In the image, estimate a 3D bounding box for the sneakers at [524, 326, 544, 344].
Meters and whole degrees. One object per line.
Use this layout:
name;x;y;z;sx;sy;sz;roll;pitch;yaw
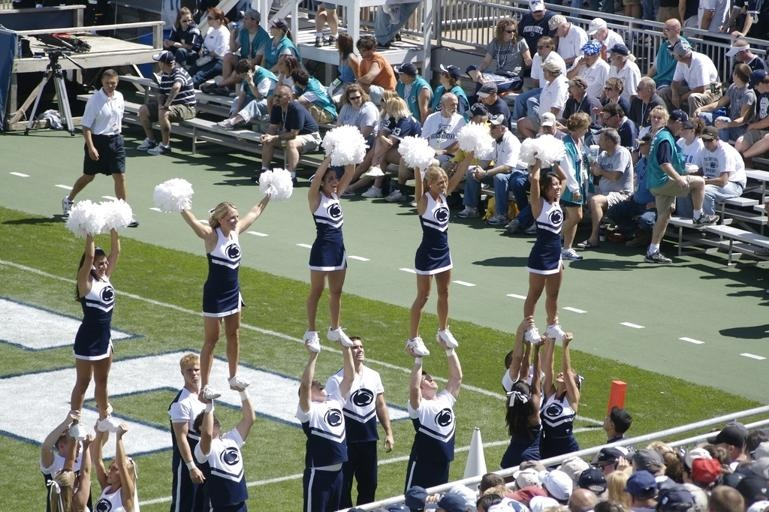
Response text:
sneakers;1.847;0.978;15.412;0.119;0.132;0.341;-5;7;-15

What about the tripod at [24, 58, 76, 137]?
tripod;-7.333;-3.508;27.278;1.115;1.756;0.915;24;38;27

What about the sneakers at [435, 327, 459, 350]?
sneakers;0.769;1.078;15.568;0.144;0.182;0.426;-8;21;-32

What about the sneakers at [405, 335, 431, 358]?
sneakers;0.395;1.154;15.700;0.159;0.173;0.423;-7;10;-23

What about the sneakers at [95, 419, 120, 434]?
sneakers;-3.192;1.961;14.311;0.167;0.150;0.288;48;7;6

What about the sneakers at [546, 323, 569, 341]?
sneakers;2.155;0.978;15.578;0.210;0.156;0.361;-4;-35;38

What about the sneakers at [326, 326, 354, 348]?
sneakers;-0.566;1.013;15.741;0.182;0.212;0.499;-23;32;-38

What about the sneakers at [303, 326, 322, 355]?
sneakers;-0.897;1.046;15.396;0.176;0.201;0.510;-4;7;-14

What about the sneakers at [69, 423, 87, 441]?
sneakers;-3.548;2.034;14.303;0.162;0.112;0.208;15;-23;27
